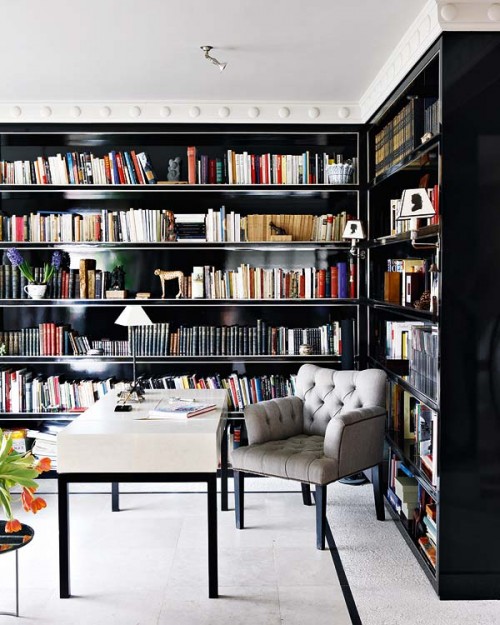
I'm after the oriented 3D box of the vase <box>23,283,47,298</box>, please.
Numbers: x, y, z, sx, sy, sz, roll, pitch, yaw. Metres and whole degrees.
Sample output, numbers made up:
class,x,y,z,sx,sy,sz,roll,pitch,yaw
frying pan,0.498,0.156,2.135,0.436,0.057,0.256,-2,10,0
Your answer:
class,x,y,z,sx,sy,sz,roll,pitch,yaw
vase,-1.677,-0.156,4.256,0.239,0.116,0.121,0,1,34

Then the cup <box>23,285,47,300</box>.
class,x,y,z,sx,sy,sz,roll,pitch,yaw
cup,-1.648,-0.138,4.182,0.101,0.108,0.135,0,-4,13

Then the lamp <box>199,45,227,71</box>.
class,x,y,z,sx,sy,sz,roll,pitch,yaw
lamp,-0.232,-1.428,3.103,0.077,0.064,0.133,-1,36,-31

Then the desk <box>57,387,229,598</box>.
class,x,y,z,sx,sy,sz,roll,pitch,yaw
desk,-0.589,0.518,3.471,0.762,0.893,1.917,2,25,-6
